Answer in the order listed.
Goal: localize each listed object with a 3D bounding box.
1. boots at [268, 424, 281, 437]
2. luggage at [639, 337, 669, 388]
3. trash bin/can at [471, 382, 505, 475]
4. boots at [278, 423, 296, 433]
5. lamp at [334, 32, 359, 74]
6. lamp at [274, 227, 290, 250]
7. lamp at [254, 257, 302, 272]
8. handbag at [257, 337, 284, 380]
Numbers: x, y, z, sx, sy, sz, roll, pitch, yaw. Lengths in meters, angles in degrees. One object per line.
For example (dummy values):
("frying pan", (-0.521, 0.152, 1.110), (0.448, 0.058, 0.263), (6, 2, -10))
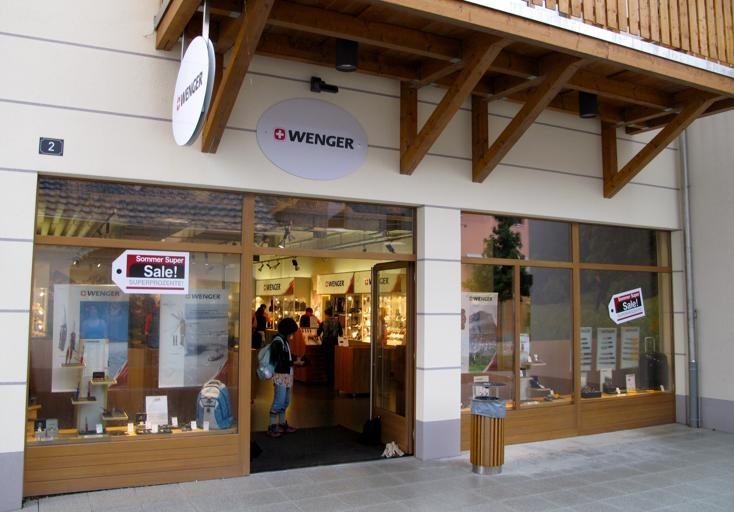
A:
("boots", (-1.512, 2.844, 10.309), (0.208, 0.146, 0.378), (1, 1, -10))
("luggage", (5.173, 2.000, 11.358), (0.388, 1.009, 0.187), (-4, 8, -9))
("trash bin/can", (1.705, 2.526, 8.813), (0.454, 1.007, 0.278), (1, 1, 6))
("boots", (-1.328, 2.891, 10.485), (0.319, 0.149, 0.112), (2, -4, -15))
("lamp", (-0.259, -2.662, 8.218), (0.348, 0.430, 0.355), (0, -3, 41))
("lamp", (-1.177, -0.250, 8.812), (0.170, 0.289, 0.102), (17, -4, 5))
("lamp", (-3.010, 0.275, 20.853), (0.328, 0.513, 3.031), (0, 1, -30))
("handbag", (-1.548, 1.661, 10.296), (0.423, 0.810, 0.555), (6, 6, -2))
